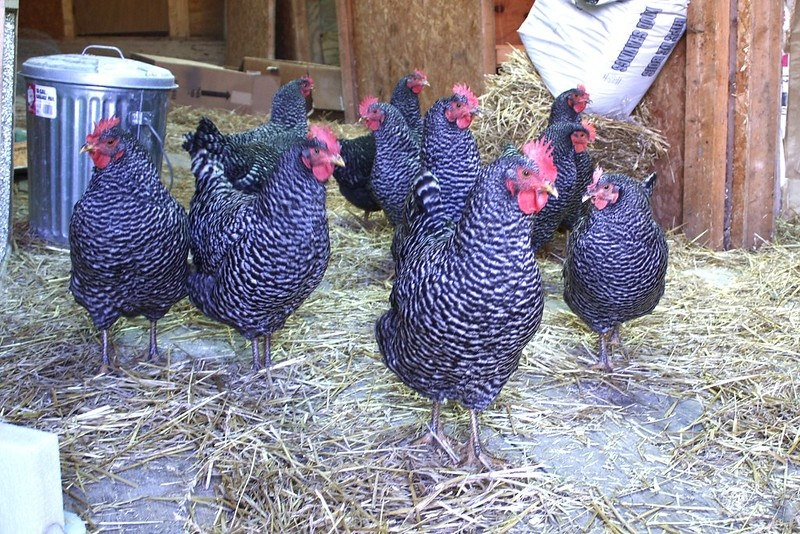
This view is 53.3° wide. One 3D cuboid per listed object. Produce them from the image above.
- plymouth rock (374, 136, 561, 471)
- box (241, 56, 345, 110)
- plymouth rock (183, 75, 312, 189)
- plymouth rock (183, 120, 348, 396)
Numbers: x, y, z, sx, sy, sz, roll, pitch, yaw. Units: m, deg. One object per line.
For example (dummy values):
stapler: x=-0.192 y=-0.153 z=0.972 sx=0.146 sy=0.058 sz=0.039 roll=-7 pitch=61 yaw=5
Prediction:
plymouth rock: x=0.338 y=0.175 z=4.361 sx=0.883 sy=1.722 sz=0.660 roll=16 pitch=20 yaw=25
box: x=-1.148 y=-2.181 z=9.285 sx=1.264 sy=0.628 sz=0.774 roll=4 pitch=2 yaw=-10
plymouth rock: x=-1.015 y=-0.919 z=6.204 sx=1.009 sy=0.959 sz=0.583 roll=-14 pitch=14 yaw=-1
plymouth rock: x=-0.913 y=-0.238 z=4.862 sx=0.981 sy=1.290 sz=0.537 roll=19 pitch=22 yaw=32
